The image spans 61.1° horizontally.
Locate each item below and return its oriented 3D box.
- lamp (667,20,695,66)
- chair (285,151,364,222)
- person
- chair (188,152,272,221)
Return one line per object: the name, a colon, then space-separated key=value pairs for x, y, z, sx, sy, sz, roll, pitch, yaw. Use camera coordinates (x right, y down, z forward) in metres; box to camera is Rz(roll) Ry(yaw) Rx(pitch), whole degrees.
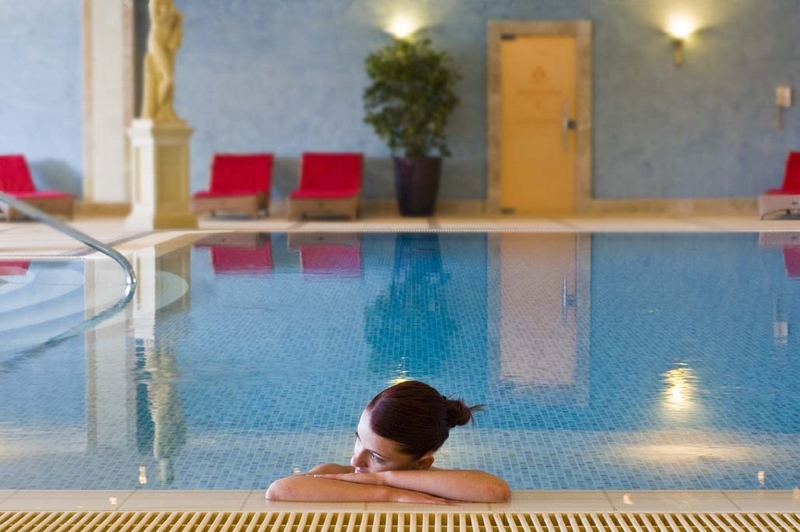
lamp: x=4.169 y=-3.315 z=10.199 sx=0.566 sy=0.508 sz=0.548 roll=-1 pitch=-82 yaw=5
chair: x=-1.046 y=-1.158 z=9.825 sx=1.081 sy=0.973 sz=0.768 roll=-2 pitch=-71 yaw=-4
person: x=-0.016 y=0.584 z=2.148 sx=0.780 sy=0.325 sz=0.577 roll=-14 pitch=-18 yaw=36
chair: x=-2.435 y=-1.154 z=9.904 sx=1.157 sy=1.152 sz=0.801 roll=11 pitch=-68 yaw=29
